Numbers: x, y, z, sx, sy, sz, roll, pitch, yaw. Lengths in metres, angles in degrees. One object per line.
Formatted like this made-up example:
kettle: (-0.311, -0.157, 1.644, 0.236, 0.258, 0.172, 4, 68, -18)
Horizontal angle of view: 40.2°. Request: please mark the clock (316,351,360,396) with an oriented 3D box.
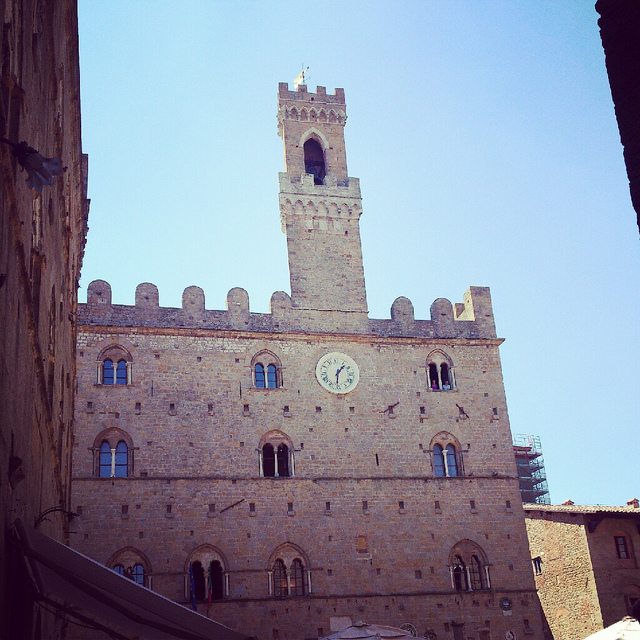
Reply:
clock: (0.465, 1.533, 23.957, 1.172, 1.343, 0.284, 23, -40, 11)
